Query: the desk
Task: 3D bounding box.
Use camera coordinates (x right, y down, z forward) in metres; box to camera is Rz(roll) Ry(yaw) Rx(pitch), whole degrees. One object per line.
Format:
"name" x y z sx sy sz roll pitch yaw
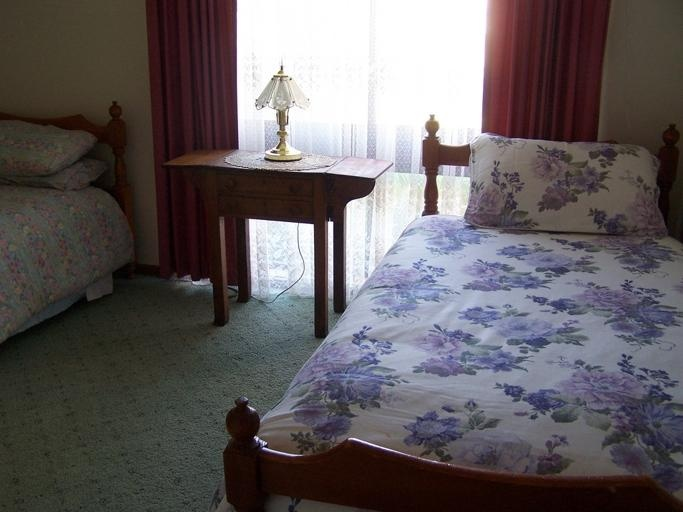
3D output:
"desk" -0.327 -0.096 3.100 1.069 0.839 0.391 3 26 9
